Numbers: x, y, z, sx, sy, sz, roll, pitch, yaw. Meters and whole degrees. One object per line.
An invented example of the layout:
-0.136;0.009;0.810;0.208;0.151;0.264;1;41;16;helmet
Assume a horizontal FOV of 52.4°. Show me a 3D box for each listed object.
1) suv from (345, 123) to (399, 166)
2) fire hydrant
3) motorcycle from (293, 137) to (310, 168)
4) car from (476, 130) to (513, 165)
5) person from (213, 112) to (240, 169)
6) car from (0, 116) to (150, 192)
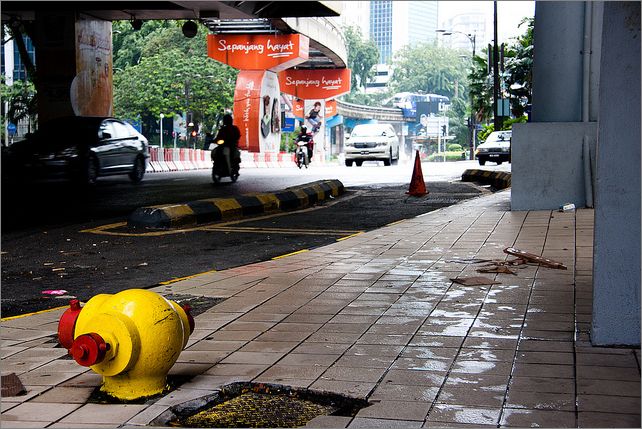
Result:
2.281;-3.223;30.609;2.311;1.855;1.581;-3;8;-7;suv
-1.304;0.761;4.281;0.738;0.545;0.792;-1;3;13;fire hydrant
-0.879;-2.785;29.934;0.494;1.260;1.528;-2;8;1;motorcycle
8.764;-3.395;33.059;1.567;1.586;2.276;1;9;17;car
-2.723;-2.039;18.948;0.606;1.746;0.722;-1;9;6;person
-6.409;-1.686;17.149;1.580;1.259;3.698;2;1;15;car
